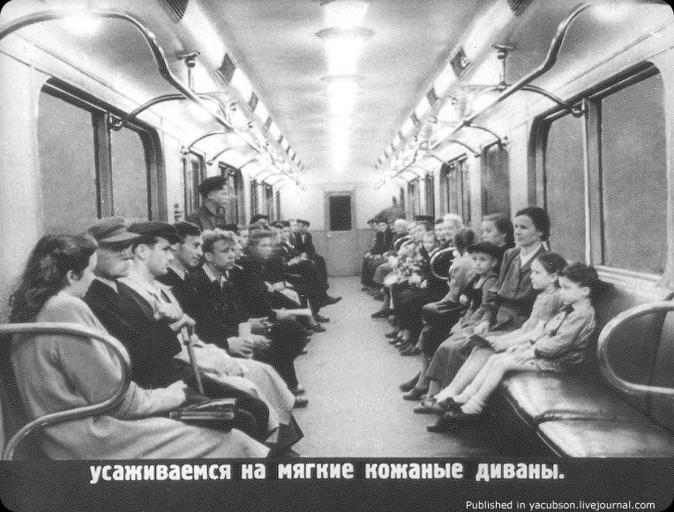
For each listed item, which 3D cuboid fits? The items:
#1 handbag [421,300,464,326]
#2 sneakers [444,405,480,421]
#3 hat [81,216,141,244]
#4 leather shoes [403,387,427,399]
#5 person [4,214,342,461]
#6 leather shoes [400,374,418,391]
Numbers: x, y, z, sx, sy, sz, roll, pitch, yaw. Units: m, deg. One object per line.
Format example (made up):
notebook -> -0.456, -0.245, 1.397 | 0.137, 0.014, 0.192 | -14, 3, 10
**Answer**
handbag -> 0.468, 0.265, 2.642 | 0.159, 0.095, 0.060 | -1, 15, 11
sneakers -> 0.551, 0.685, 2.604 | 0.166, 0.064, 0.055 | 2, -9, 6
hat -> -0.986, -0.111, 2.577 | 0.156, 0.052, 0.108 | -7, 26, -21
leather shoes -> 0.351, 0.602, 2.644 | 0.123, 0.044, 0.044 | -2, 6, -14
person -> -0.700, 0.376, 2.830 | 1.416, 1.357, 0.827 | -2, 5, -14
leather shoes -> 0.325, 0.562, 2.630 | 0.118, 0.047, 0.039 | -12, -2, 6
